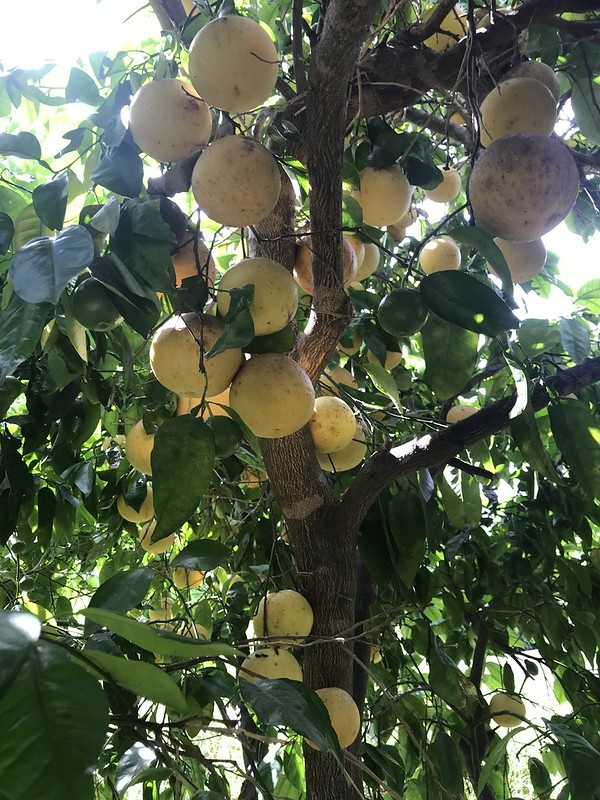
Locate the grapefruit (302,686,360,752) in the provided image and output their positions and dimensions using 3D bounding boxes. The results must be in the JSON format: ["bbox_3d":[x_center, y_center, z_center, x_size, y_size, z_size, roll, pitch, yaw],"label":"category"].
[{"bbox_3d":[0.049,0.429,1.010,0.073,0.075,0.068,0,-15,-19],"label":"grapefruit"}]

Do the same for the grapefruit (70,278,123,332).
[{"bbox_3d":[-0.224,-0.106,0.831,0.047,0.047,0.051,-30,-105,18],"label":"grapefruit"}]
